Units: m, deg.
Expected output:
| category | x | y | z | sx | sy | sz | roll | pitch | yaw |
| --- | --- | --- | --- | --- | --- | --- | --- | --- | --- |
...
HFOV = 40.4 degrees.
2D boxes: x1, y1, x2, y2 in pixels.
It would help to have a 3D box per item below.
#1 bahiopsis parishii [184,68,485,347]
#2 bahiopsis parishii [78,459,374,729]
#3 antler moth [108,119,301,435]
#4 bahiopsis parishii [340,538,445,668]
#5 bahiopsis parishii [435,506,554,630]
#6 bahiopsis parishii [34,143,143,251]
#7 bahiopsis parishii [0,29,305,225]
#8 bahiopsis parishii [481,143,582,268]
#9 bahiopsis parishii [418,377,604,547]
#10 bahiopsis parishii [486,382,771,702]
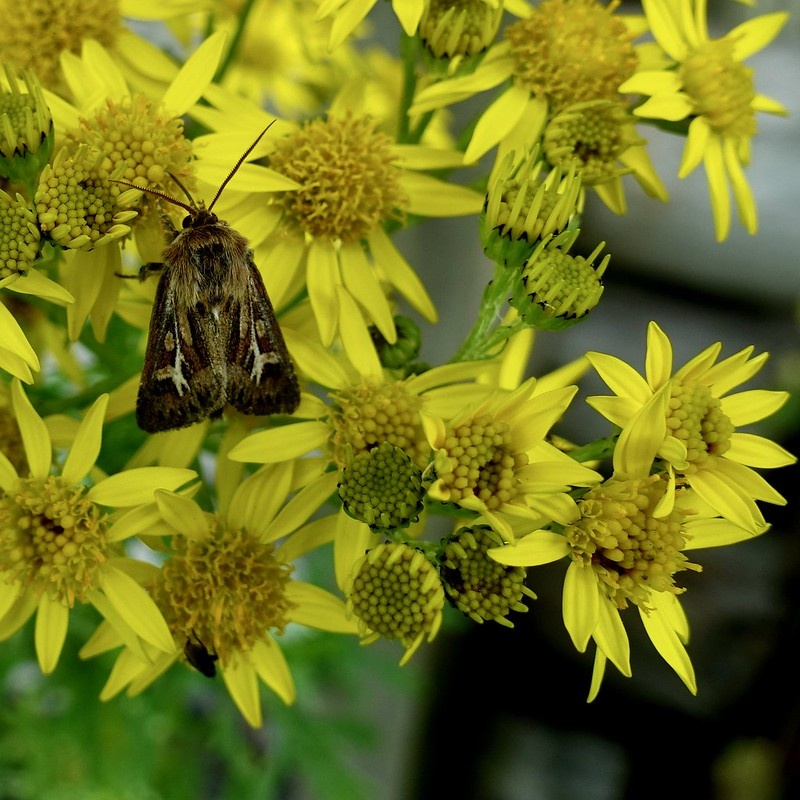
| category | x | y | z | sx | sy | sz | roll | pitch | yaw |
| --- | --- | --- | --- | --- | --- | --- | --- | --- | --- |
| bahiopsis parishii | -0.124 | -0.399 | 2.671 | 0.635 | 0.215 | 0.587 | -16 | 84 | -5 |
| bahiopsis parishii | -0.413 | 0.349 | 2.503 | 0.639 | 0.254 | 0.603 | -31 | 100 | -13 |
| antler moth | -0.441 | -0.233 | 2.398 | 0.459 | 0.189 | 0.659 | -9 | 93 | -2 |
| bahiopsis parishii | -0.006 | 0.422 | 2.372 | 0.234 | 0.131 | 0.246 | 27 | 90 | 3 |
| bahiopsis parishii | 0.180 | 0.375 | 2.389 | 0.219 | 0.095 | 0.214 | -21 | 82 | 6 |
| bahiopsis parishii | -0.669 | -0.414 | 2.322 | 0.226 | 0.129 | 0.221 | 1 | 91 | -27 |
| bahiopsis parishii | -0.551 | -0.603 | 2.411 | 0.438 | 0.186 | 0.439 | -14 | 57 | -37 |
| bahiopsis parishii | 0.274 | -0.426 | 2.451 | 0.223 | 0.258 | 0.262 | 19 | 106 | -1 |
| bahiopsis parishii | 0.229 | 0.135 | 2.259 | 0.353 | 0.197 | 0.311 | -16 | 75 | -1 |
| bahiopsis parishii | 0.515 | 0.287 | 2.387 | 0.587 | 0.513 | 0.206 | -6 | 54 | -20 |
